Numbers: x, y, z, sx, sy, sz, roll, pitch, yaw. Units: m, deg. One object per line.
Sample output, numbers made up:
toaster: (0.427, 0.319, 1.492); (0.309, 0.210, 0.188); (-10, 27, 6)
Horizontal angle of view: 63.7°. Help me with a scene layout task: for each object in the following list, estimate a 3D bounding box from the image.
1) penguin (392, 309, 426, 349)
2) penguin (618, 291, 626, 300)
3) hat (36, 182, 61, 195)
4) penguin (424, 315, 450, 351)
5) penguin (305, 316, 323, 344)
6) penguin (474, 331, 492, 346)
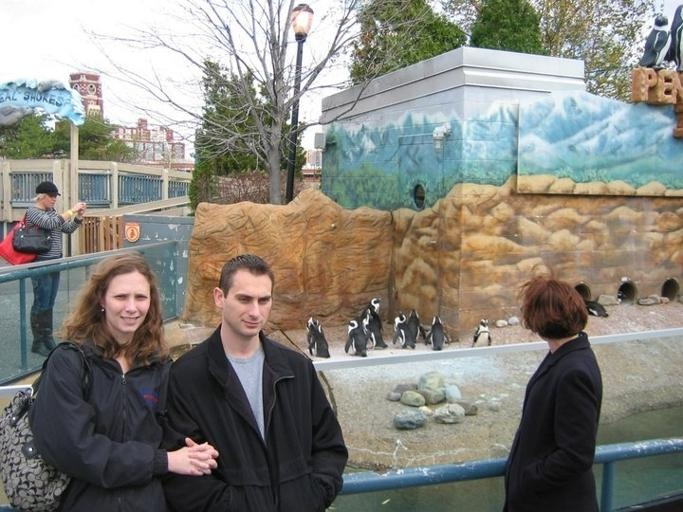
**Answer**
penguin: (1.348, 1.422, 10.792); (0.665, 0.687, 0.684); (-2, 2, 1)
penguin: (6.375, 0.891, 12.407); (0.111, 0.206, 0.359); (-1, 2, 27)
hat: (-3.976, -0.889, 7.312); (0.269, 0.159, 0.193); (-3, 8, -17)
penguin: (1.797, 1.521, 10.250); (0.342, 0.819, 0.344); (-5, -37, 17)
penguin: (-0.523, 1.365, 10.348); (0.415, 0.561, 0.235); (-3, -12, 17)
penguin: (2.599, 1.415, 10.073); (0.359, 0.374, 0.220); (4, 8, 14)
